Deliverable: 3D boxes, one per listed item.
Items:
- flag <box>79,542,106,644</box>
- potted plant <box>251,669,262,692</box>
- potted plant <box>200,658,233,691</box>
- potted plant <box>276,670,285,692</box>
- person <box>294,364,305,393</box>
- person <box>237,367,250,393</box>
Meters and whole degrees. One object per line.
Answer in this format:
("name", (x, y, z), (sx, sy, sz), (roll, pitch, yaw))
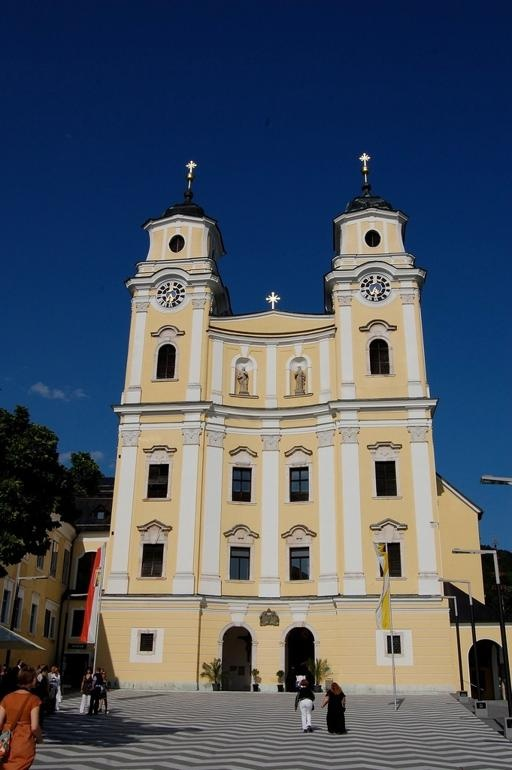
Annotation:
("flag", (-6.237, 8.070, 28.031), (0.303, 3.632, 0.699), (12, -16, -28))
("potted plant", (0.024, 14.781, 36.189), (0.503, 0.979, 0.268), (4, -21, -2))
("potted plant", (-1.914, 14.614, 36.162), (1.821, 1.789, 1.804), (-5, -30, 15))
("potted plant", (1.203, 14.778, 36.054), (0.539, 0.944, 0.298), (-8, -24, 27))
("person", (2.573, -0.241, 42.361), (0.747, 1.805, 0.209), (-11, -25, 33))
("person", (-0.783, -0.221, 42.575), (0.765, 1.755, 0.270), (3, -21, -1))
